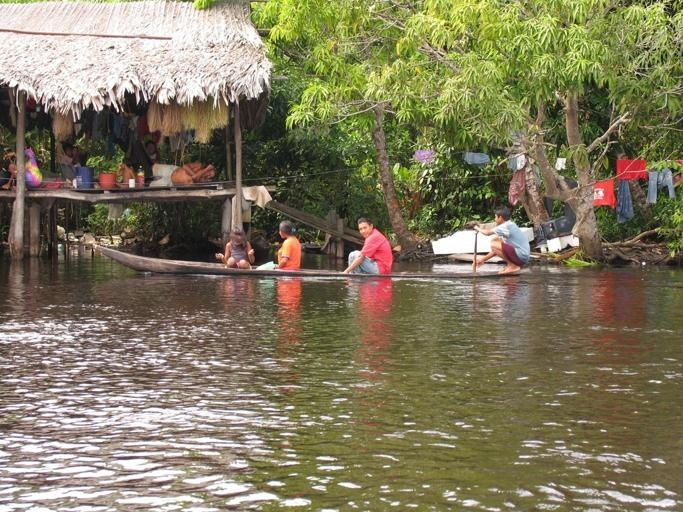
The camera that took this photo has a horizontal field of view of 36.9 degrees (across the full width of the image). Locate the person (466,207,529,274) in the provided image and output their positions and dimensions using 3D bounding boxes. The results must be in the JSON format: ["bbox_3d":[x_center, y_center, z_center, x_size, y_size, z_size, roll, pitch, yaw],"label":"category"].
[{"bbox_3d":[2.786,-0.281,17.830,1.130,0.994,0.866,8,9,36],"label":"person"}]

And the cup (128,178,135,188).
[{"bbox_3d":[-4.245,-1.476,20.801,0.203,0.182,0.186,0,-3,0],"label":"cup"}]

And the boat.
[{"bbox_3d":[-0.244,0.077,19.765,9.683,0.645,0.896,0,-9,3],"label":"boat"}]

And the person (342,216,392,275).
[{"bbox_3d":[0.468,-0.148,16.905,0.761,0.901,1.322,-1,-2,1],"label":"person"}]

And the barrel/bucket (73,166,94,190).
[{"bbox_3d":[-5.263,-1.598,20.990,0.486,0.455,0.452,0,7,0],"label":"barrel/bucket"}]

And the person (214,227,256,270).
[{"bbox_3d":[-1.745,-0.135,17.378,0.840,1.042,0.665,-1,-3,-6],"label":"person"}]
